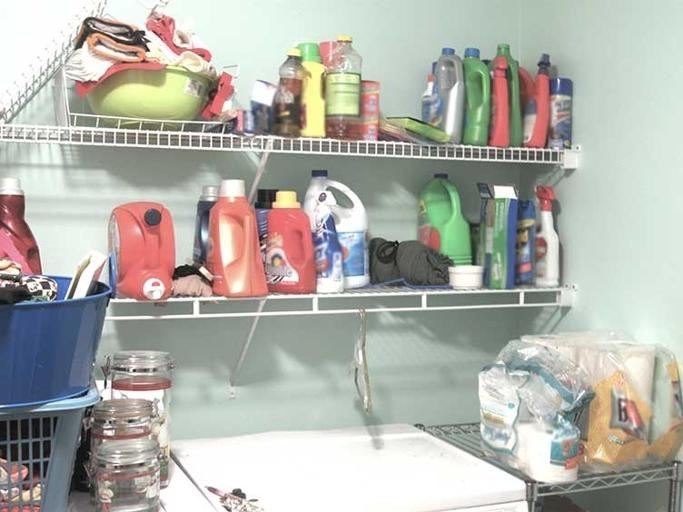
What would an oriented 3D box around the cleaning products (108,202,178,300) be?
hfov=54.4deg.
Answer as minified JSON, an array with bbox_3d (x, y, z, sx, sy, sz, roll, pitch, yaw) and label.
[{"bbox_3d":[-0.565,-0.013,1.830,0.198,0.351,0.366,-1,1,-24],"label":"cleaning products"}]

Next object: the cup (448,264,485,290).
[{"bbox_3d":[0.378,0.065,2.024,0.105,0.069,0.099,0,5,0],"label":"cup"}]

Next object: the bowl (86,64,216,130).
[{"bbox_3d":[-0.588,-0.423,1.789,0.300,0.107,0.313,-9,11,2],"label":"bowl"}]

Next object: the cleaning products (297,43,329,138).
[{"bbox_3d":[-0.084,-0.471,1.888,0.075,0.272,0.075,0,5,-4],"label":"cleaning products"}]

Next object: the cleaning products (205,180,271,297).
[{"bbox_3d":[-0.303,-0.047,1.800,0.197,0.315,0.114,5,7,44],"label":"cleaning products"}]

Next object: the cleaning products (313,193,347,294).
[{"bbox_3d":[-0.046,-0.040,1.889,0.080,0.285,0.078,-1,5,-14],"label":"cleaning products"}]

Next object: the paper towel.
[{"bbox_3d":[0.590,0.393,1.741,0.365,0.285,0.369,0,4,5],"label":"paper towel"}]

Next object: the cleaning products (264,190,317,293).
[{"bbox_3d":[-0.145,-0.036,1.845,0.144,0.280,0.081,0,5,-6],"label":"cleaning products"}]
